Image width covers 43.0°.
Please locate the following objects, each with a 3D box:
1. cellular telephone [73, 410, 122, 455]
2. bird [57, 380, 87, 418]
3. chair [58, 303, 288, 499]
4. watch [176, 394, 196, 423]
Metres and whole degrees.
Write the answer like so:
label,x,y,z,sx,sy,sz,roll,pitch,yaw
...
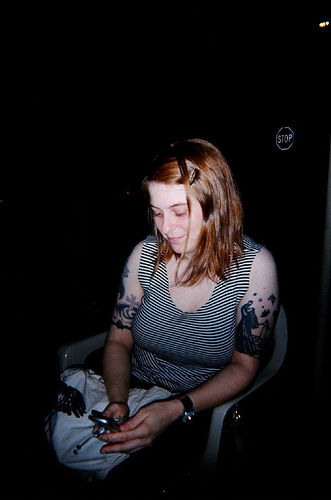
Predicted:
label,x,y,z,sx,sy,sz,roll,pitch,yaw
cellular telephone,-0.172,0.445,1.074,0.073,0.050,0.119,21,58,27
bird,-0.259,0.416,1.158,0.093,0.050,0.065,4,12,20
chair,-0.002,0.318,1.550,0.563,0.881,0.588,5,-6,43
watch,0.049,0.433,1.190,0.051,0.062,0.064,-17,57,-15
